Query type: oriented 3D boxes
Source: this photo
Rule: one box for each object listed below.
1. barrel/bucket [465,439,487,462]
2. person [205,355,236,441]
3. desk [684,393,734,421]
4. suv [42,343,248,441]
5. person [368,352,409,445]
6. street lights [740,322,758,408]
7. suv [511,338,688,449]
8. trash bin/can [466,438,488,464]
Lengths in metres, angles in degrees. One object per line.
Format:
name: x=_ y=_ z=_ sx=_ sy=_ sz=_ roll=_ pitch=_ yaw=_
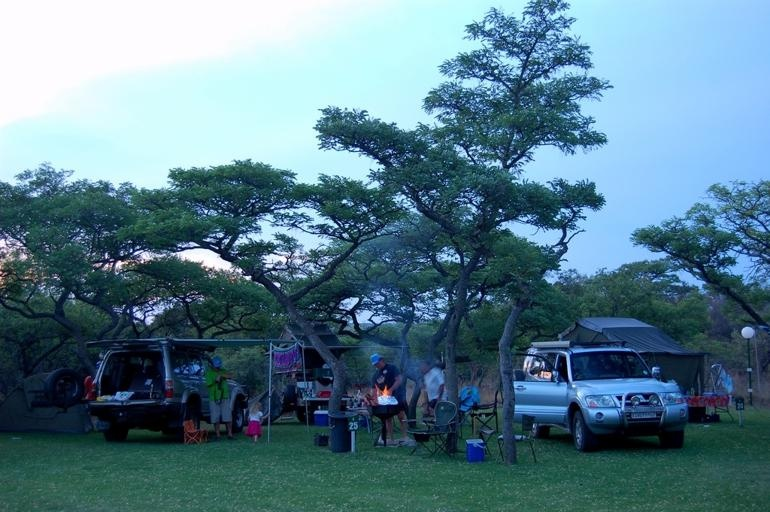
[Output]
barrel/bucket: x=2.592 y=5.428 z=24.707 sx=0.770 sy=0.505 sz=0.538 roll=0 pitch=-4 yaw=1
person: x=-5.456 y=4.616 z=29.107 sx=1.076 sy=2.442 sz=1.223 roll=5 pitch=0 yaw=1
desk: x=12.400 y=5.735 z=33.124 sx=1.311 sy=1.033 sz=3.447 roll=-9 pitch=-17 yaw=29
suv: x=-7.347 y=4.490 z=30.135 sx=3.432 sy=2.735 sz=5.841 roll=-3 pitch=-9 yaw=17
person: x=0.191 y=4.323 z=27.056 sx=1.640 sy=2.773 sz=1.120 roll=2 pitch=3 yaw=-10
street lights: x=16.715 y=5.173 z=40.076 sx=0.815 sy=4.008 sz=0.756 roll=1 pitch=-10 yaw=10
suv: x=6.695 y=4.217 z=27.928 sx=3.454 sy=2.705 sz=5.914 roll=-1 pitch=-3 yaw=-15
trash bin/can: x=2.602 y=5.422 z=24.675 sx=0.785 sy=0.481 sz=0.529 roll=1 pitch=-7 yaw=-2
